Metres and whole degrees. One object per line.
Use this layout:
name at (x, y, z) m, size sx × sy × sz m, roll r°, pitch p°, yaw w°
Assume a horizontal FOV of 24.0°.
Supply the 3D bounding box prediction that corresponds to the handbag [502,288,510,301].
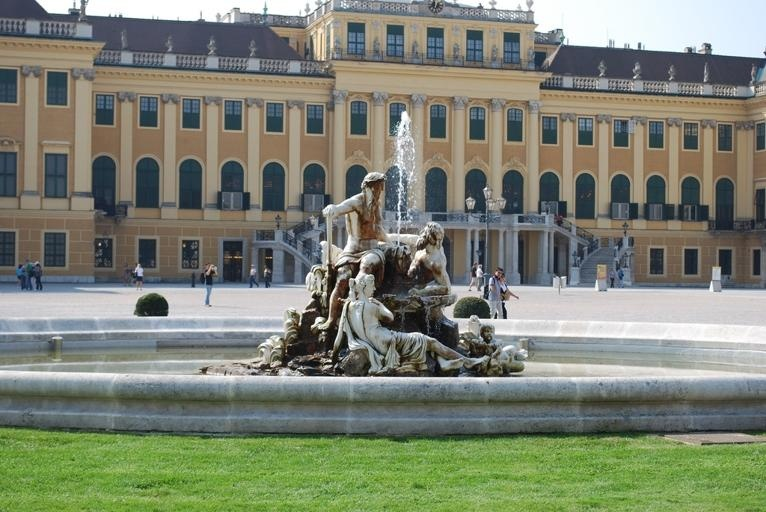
handbag at (4.930, 1.453, 72.574) m, size 0.344 × 0.302 × 0.401 m, roll 1°, pitch -6°, yaw -3°
